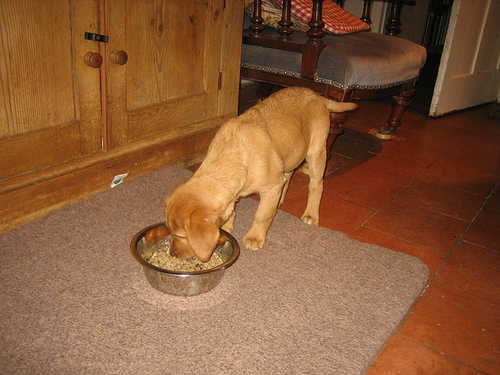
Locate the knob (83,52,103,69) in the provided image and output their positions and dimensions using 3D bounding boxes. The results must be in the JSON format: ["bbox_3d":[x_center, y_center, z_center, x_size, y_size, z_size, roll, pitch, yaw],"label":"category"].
[{"bbox_3d":[-0.998,-0.809,2.506,0.059,0.097,0.119,28,38,35],"label":"knob"}]

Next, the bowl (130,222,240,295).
[{"bbox_3d":[-0.336,0.406,2.068,0.477,0.159,0.445,3,30,-2],"label":"bowl"}]

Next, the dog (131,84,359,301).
[{"bbox_3d":[0.013,-0.045,2.518,0.668,0.908,1.783,30,47,33],"label":"dog"}]

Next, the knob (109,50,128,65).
[{"bbox_3d":[-0.876,-0.862,2.610,0.071,0.094,0.092,23,43,40],"label":"knob"}]
